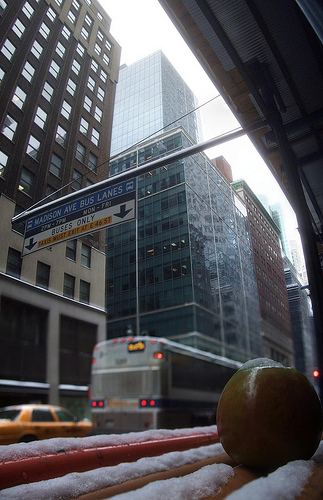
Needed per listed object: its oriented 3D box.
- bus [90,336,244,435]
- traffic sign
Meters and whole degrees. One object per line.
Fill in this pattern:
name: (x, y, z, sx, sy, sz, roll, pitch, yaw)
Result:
bus: (0.611, 4.109, 10.021, 1.943, 2.292, 5.913, -11, -25, 25)
traffic sign: (-1.314, -0.556, 5.611, 2.026, 0.987, 0.164, -8, -18, 20)
